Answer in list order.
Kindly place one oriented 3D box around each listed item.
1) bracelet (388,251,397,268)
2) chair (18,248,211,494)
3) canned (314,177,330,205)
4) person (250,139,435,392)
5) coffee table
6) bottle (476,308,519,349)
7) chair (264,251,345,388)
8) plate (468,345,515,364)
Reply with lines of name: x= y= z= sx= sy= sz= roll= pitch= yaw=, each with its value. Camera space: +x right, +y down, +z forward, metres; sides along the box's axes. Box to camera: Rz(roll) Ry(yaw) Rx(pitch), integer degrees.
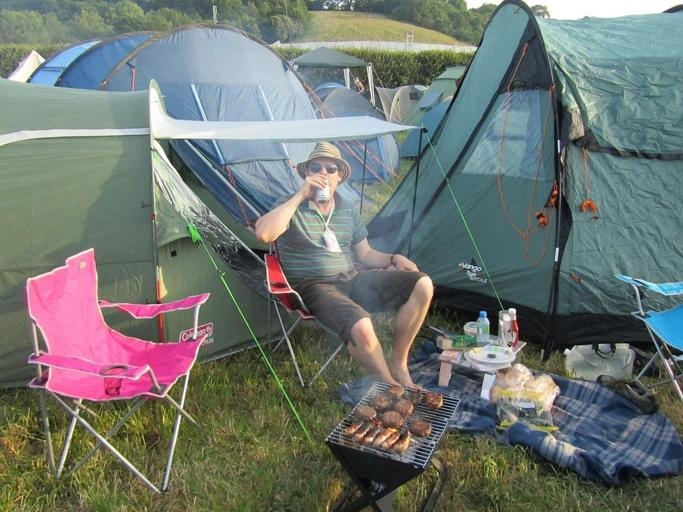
bracelet: x=0.357 y=0.033 z=4.093 sx=0.076 sy=0.123 sz=0.061 roll=0 pitch=7 yaw=-19
chair: x=-1.217 y=0.613 z=3.202 sx=0.627 sy=1.191 sz=1.037 roll=2 pitch=15 yaw=1
canned: x=-0.122 y=-0.412 z=3.792 sx=0.116 sy=0.127 sz=0.226 roll=4 pitch=55 yaw=0
person: x=0.010 y=0.068 z=3.914 sx=1.081 sy=1.961 sz=1.137 roll=-8 pitch=-2 yaw=-6
coffee table: x=0.871 y=0.701 z=3.827 sx=0.320 sy=0.203 sz=0.457 roll=9 pitch=20 yaw=31
bottle: x=1.073 y=0.484 z=4.118 sx=0.314 sy=0.384 sz=0.207 roll=-4 pitch=8 yaw=-8
chair: x=-0.166 y=0.369 z=4.022 sx=0.563 sy=0.812 sz=0.612 roll=5 pitch=26 yaw=12
plate: x=0.967 y=0.631 z=3.780 sx=0.308 sy=0.038 sz=0.176 roll=3 pitch=37 yaw=10
